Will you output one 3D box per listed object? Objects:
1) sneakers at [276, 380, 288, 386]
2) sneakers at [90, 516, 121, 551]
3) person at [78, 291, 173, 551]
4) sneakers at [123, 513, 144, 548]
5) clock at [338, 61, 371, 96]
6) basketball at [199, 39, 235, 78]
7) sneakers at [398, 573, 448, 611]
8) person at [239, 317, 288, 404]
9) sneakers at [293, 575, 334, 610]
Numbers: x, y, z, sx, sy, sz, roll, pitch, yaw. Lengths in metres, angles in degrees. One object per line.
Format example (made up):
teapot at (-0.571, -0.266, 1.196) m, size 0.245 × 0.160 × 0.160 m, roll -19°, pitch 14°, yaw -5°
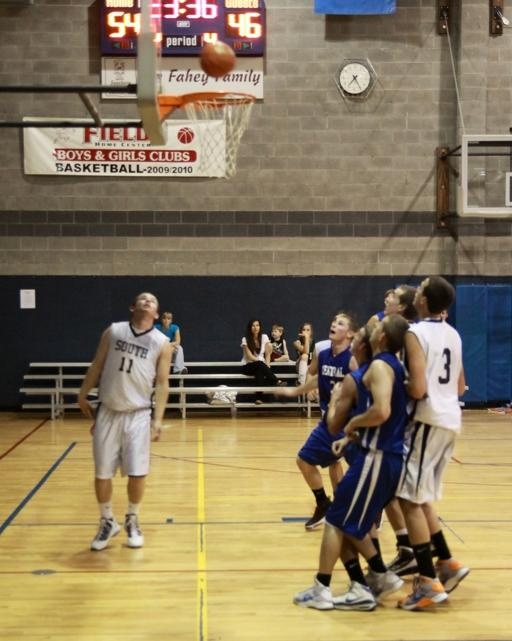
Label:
sneakers at (0.345, 0.810, 14.008) m, size 0.139 × 0.067 × 0.192 m, roll -7°, pitch -4°, yaw -29°
sneakers at (-1.172, 1.639, 8.305) m, size 0.115 × 0.149 × 0.333 m, roll -2°, pitch 13°, yaw 14°
person at (-1.008, 0.768, 8.351) m, size 0.700 × 1.947 × 0.428 m, roll 0°, pitch 6°, yaw -9°
sneakers at (-0.936, 1.638, 8.324) m, size 0.103 × 0.129 × 0.306 m, roll -1°, pitch 7°, yaw -11°
clock at (1.333, -3.236, 14.359) m, size 0.441 × 0.433 × 0.083 m, roll -1°, pitch 6°, yaw -12°
basketball at (-0.311, -2.141, 8.732) m, size 0.272 × 0.268 × 0.212 m, roll -1°, pitch 7°, yaw -19°
sneakers at (1.152, 1.856, 7.404) m, size 0.331 × 0.261 × 0.199 m, roll 2°, pitch 7°, yaw 8°
person at (0.065, 0.406, 13.939) m, size 0.465 × 0.846 × 0.489 m, roll 1°, pitch 6°, yaw -2°
sneakers at (0.415, 1.908, 7.474) m, size 0.325 × 0.225 × 0.137 m, roll -1°, pitch -10°, yaw 37°
